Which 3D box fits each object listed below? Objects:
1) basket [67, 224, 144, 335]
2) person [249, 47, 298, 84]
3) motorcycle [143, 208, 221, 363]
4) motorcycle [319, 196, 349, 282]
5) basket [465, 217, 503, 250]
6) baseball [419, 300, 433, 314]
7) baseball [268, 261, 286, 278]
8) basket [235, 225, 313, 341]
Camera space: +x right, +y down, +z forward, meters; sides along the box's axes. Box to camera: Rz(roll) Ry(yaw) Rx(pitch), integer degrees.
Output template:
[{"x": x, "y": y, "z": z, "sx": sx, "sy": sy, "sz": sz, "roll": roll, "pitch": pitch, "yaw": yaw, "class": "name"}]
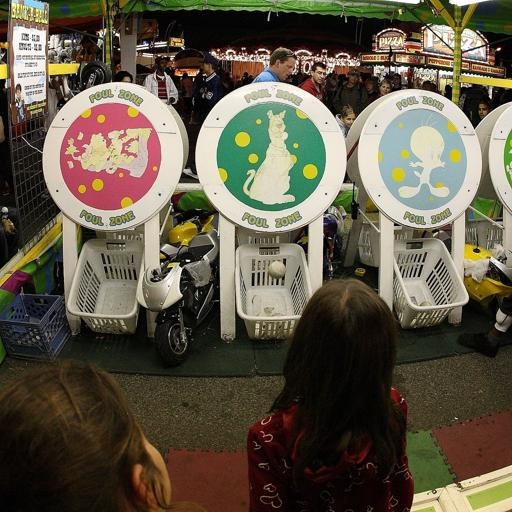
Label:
[{"x": -1.217, "y": 0.227, "z": 3.399, "sx": 0.554, "sy": 0.686, "sz": 0.732, "roll": 1, "pitch": 20, "yaw": 0, "class": "basket"}, {"x": 0.186, "y": -1.807, "z": 3.889, "sx": 0.330, "sy": 0.308, "sz": 0.744, "roll": 3, "pitch": 22, "yaw": 5, "class": "person"}, {"x": -0.618, "y": 0.260, "z": 3.395, "sx": 0.371, "sy": 0.707, "sz": 1.124, "roll": -2, "pitch": 21, "yaw": 11, "class": "motorcycle"}, {"x": 0.851, "y": -0.206, "z": 4.453, "sx": 0.339, "sy": 0.828, "sz": 0.438, "roll": 8, "pitch": -13, "yaw": -9, "class": "motorcycle"}, {"x": 2.375, "y": -0.234, "z": 4.400, "sx": 0.496, "sy": 0.320, "sz": 0.086, "roll": -4, "pitch": 17, "yaw": -13, "class": "basket"}, {"x": 1.364, "y": 0.398, "z": 3.349, "sx": 0.089, "sy": 0.059, "sz": 0.159, "roll": 3, "pitch": 27, "yaw": 10, "class": "baseball"}, {"x": 0.159, "y": 0.105, "z": 3.252, "sx": 0.103, "sy": 0.133, "sz": 0.132, "roll": 17, "pitch": 10, "yaw": 14, "class": "baseball"}, {"x": 0.122, "y": 0.261, "z": 3.460, "sx": 0.458, "sy": 0.384, "sz": 0.842, "roll": 0, "pitch": 55, "yaw": -1, "class": "basket"}]
